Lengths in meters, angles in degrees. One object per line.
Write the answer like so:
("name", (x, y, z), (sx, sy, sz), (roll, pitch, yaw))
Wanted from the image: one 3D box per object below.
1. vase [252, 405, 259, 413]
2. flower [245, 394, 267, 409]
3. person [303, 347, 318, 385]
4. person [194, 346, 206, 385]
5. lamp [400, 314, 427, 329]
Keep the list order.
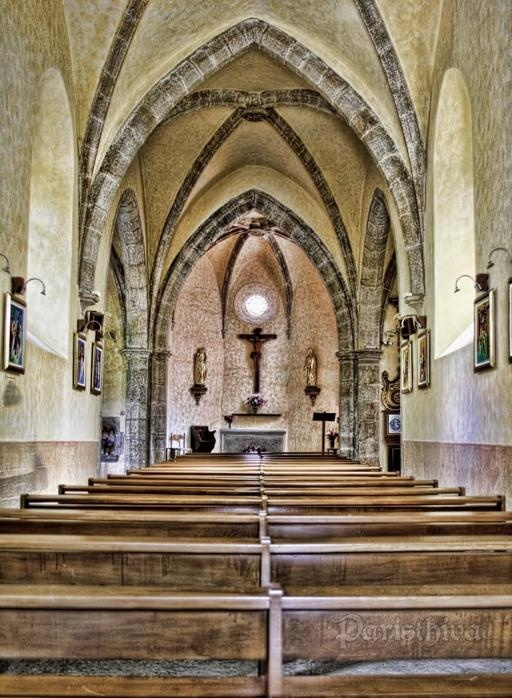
("vase", (-0.004, 1.857, 21.103), (0.134, 0.202, 0.141), (7, -6, -41))
("flower", (-0.010, 1.569, 21.034), (0.361, 0.525, 0.432), (1, 0, 11))
("person", (1.518, 0.523, 19.495), (0.296, 1.389, 0.551), (7, -16, -15))
("person", (-1.625, 0.504, 20.118), (0.352, 1.130, 0.456), (-3, -9, 14))
("lamp", (2.018, -0.336, 8.812), (0.085, 0.135, 0.297), (5, -8, -21))
